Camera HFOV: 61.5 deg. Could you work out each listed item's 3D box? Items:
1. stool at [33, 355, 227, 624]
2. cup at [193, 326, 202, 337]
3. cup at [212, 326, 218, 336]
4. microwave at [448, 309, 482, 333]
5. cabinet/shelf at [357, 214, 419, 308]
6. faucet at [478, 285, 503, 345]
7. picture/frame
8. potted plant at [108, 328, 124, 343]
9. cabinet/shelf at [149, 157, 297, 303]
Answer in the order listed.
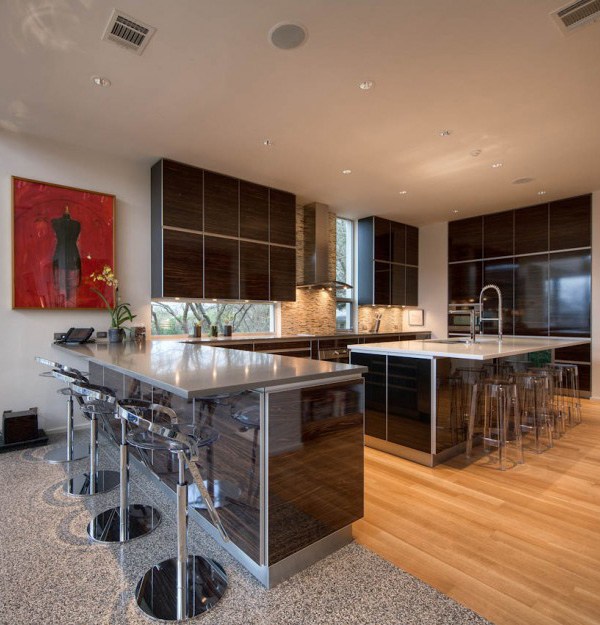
[{"bbox_3d":[-0.845,0.908,2.550,0.359,0.737,0.961,-6,11,-43],"label":"stool"},{"bbox_3d":[-1.075,0.194,5.263,0.061,0.138,0.101,-2,6,-21],"label":"cup"},{"bbox_3d":[-0.921,0.195,5.374,0.075,0.128,0.057,-4,7,-33],"label":"cup"},{"bbox_3d":[2.216,0.104,6.746,0.205,0.317,0.375,2,-2,-39],"label":"microwave"},{"bbox_3d":[1.255,-0.788,7.460,1.395,1.430,0.397,2,-4,-42],"label":"cabinet/shelf"},{"bbox_3d":[1.872,0.015,4.966,0.243,0.594,0.062,-7,17,-4],"label":"faucet"},{"bbox_3d":[-2.087,-0.598,4.483,0.917,1.125,0.132,-5,8,-42],"label":"picture/frame"},{"bbox_3d":[-1.579,0.195,4.335,0.137,0.128,0.133,2,-4,-9],"label":"potted plant"},{"bbox_3d":[-0.850,-0.875,5.164,1.458,1.101,0.452,2,-4,-38],"label":"cabinet/shelf"}]
